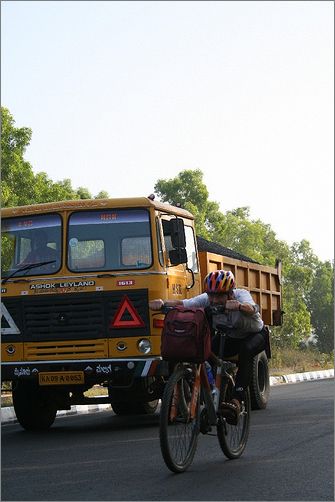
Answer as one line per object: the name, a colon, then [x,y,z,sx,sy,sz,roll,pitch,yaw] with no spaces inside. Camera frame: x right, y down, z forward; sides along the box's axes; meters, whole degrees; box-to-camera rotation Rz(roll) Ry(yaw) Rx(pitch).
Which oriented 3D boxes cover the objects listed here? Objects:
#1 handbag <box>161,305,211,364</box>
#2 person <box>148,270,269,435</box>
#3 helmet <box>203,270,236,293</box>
handbag: [0.135,0.568,2.740,0.302,0.407,0.387,0,-14,11]
person: [0.597,0.778,3.529,0.957,1.482,1.156,-10,-17,38]
helmet: [0.421,0.253,3.321,0.245,0.202,0.285,-6,-8,23]
